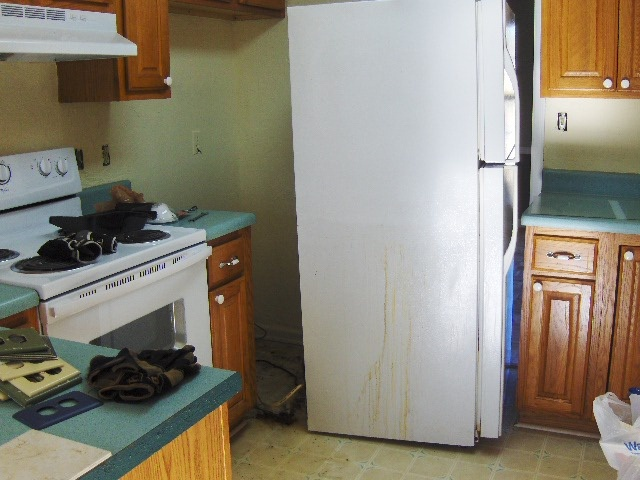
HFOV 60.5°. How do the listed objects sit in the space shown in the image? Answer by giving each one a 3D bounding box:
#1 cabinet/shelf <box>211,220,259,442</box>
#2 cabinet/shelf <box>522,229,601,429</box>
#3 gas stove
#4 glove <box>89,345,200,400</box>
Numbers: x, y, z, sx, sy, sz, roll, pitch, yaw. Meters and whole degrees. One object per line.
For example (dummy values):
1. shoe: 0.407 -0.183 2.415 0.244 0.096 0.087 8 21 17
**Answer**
1. cabinet/shelf: -0.393 0.451 2.589 0.105 0.991 0.367 3 16 15
2. cabinet/shelf: 1.093 0.394 2.545 0.317 0.873 0.123 2 15 9
3. gas stove: -0.810 -0.004 1.990 0.259 0.097 0.563 7 17 26
4. glove: -0.363 0.244 1.165 0.136 0.052 0.136 5 11 20
